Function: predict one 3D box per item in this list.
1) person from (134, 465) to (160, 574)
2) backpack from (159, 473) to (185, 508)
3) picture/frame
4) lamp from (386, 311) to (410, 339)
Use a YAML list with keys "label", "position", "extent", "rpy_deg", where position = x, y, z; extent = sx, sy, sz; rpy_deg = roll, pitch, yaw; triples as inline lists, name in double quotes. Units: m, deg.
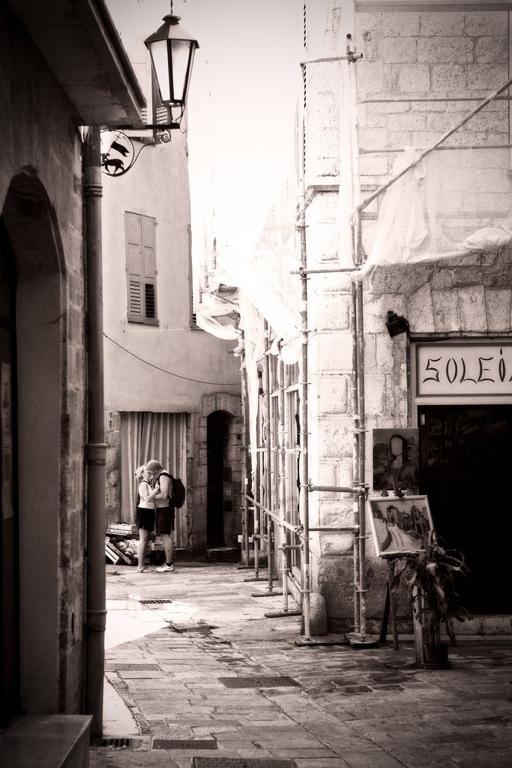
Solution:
- label: "person"
  position: [-1.420, 1.705, 14.928]
  extent: [0.228, 1.388, 1.077]
  rpy_deg: [0, -8, -6]
- label: "backpack"
  position: [-1.059, 1.357, 14.959]
  extent: [0.384, 0.523, 0.271]
  rpy_deg: [2, 2, -9]
- label: "picture/frame"
  position: [1.184, 1.167, 9.520]
  extent: [0.475, 0.505, 0.037]
  rpy_deg: [6, -33, -28]
- label: "lamp"
  position: [1.217, -0.512, 10.011]
  extent: [0.156, 0.274, 0.111]
  rpy_deg: [-5, 0, 6]
